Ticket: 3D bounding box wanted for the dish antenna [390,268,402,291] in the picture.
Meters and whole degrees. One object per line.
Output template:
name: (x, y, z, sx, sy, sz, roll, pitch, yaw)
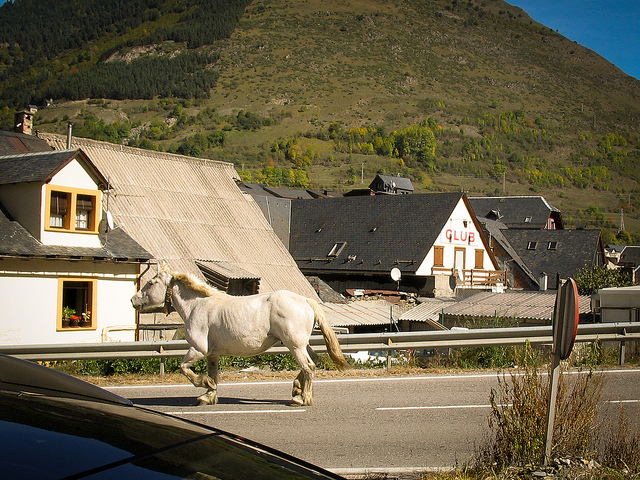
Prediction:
dish antenna: (19.089, 9.579, 345.488, 1.802, 5.580, 2.673, -1, -2, 35)
